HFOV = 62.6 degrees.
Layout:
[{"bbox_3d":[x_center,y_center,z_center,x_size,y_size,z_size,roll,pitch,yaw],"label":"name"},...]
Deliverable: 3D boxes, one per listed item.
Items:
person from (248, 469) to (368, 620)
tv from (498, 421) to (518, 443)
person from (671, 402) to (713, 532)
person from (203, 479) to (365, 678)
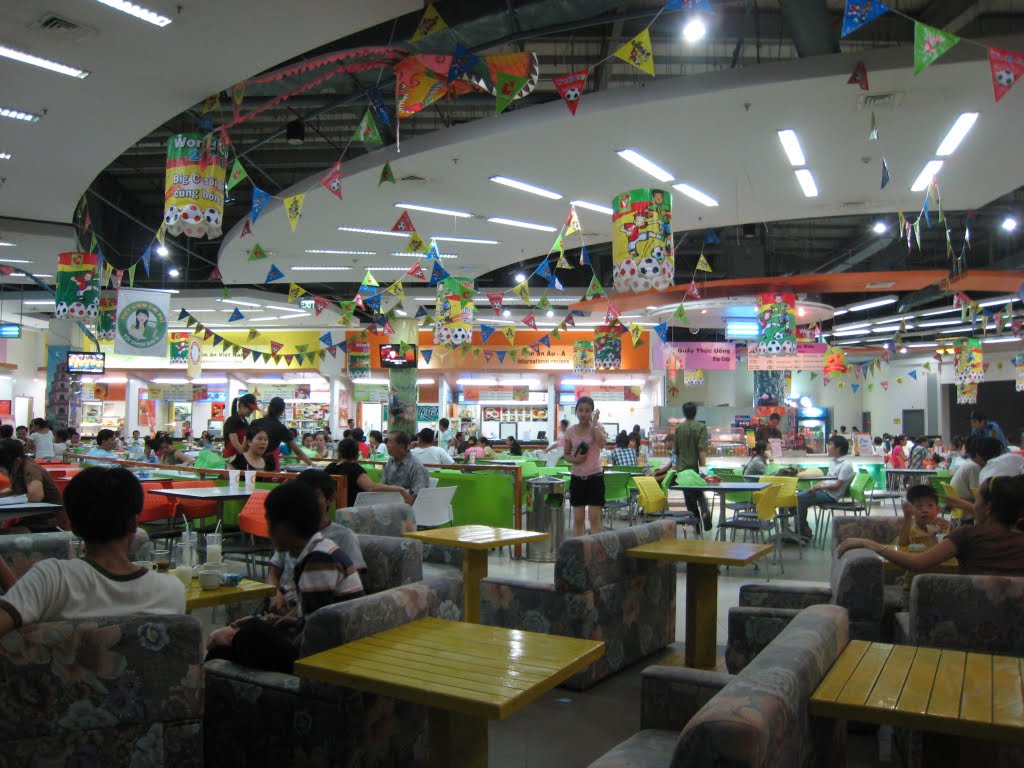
[{"bbox_3d":[-1.090,0.863,4.600,0.585,0.902,0.876,0,-7,-13],"label":"person"},{"bbox_3d":[-0.076,1.229,20.993,0.464,0.563,0.059,0,-18,4],"label":"tv"},{"bbox_3d":[2.369,1.013,10.882,0.432,1.491,0.397,-2,3,41],"label":"person"},{"bbox_3d":[-1.087,0.974,4.199,0.874,1.249,0.703,2,-8,-11],"label":"person"}]
